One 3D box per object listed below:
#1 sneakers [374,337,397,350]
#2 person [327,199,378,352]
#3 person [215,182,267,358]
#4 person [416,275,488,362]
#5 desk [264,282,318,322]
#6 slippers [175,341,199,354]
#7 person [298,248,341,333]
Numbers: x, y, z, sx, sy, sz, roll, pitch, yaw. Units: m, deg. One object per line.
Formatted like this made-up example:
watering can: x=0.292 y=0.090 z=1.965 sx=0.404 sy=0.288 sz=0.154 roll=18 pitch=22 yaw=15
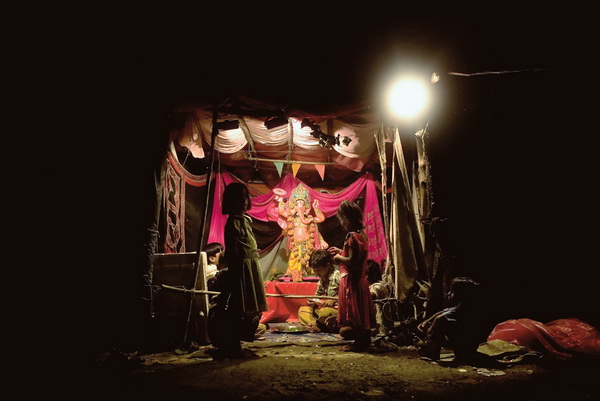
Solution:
sneakers: x=1.507 y=2.549 z=9.251 sx=0.154 sy=0.179 sz=0.413 roll=12 pitch=-22 yaw=-44
person: x=0.923 y=1.293 z=9.089 sx=0.626 sy=2.533 sz=0.477 roll=-5 pitch=-16 yaw=6
person: x=-0.962 y=1.205 z=8.926 sx=0.928 sy=2.988 sz=0.848 roll=-6 pitch=15 yaw=-13
person: x=2.448 y=1.944 z=8.488 sx=0.940 sy=1.277 sz=0.332 roll=-10 pitch=-17 yaw=22
desk: x=-0.297 y=2.193 z=11.354 sx=0.914 sy=0.483 sz=0.915 roll=1 pitch=-7 yaw=-5
slippers: x=-1.933 y=2.502 z=8.829 sx=0.186 sy=0.100 sz=0.257 roll=6 pitch=0 yaw=22
person: x=0.402 y=1.859 z=10.488 sx=0.967 sy=1.669 sz=1.080 roll=9 pitch=-23 yaw=-18
